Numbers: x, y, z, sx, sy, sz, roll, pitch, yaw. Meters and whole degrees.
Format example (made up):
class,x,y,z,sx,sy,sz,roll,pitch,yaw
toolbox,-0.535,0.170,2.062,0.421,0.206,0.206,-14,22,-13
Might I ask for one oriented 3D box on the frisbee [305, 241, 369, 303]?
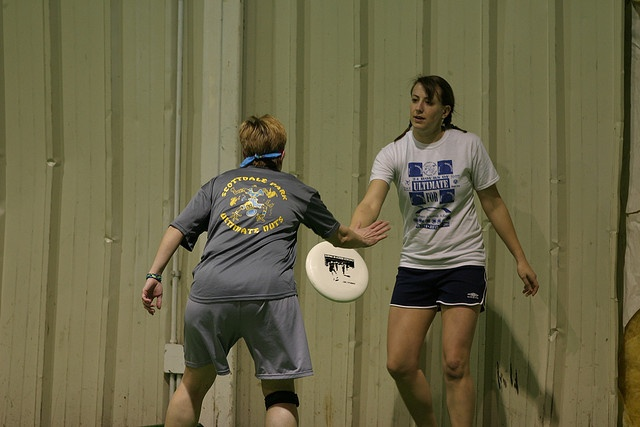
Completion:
class,x,y,z,sx,sy,sz,roll,pitch,yaw
frisbee,0.113,0.399,7.707,0.379,0.437,0.084,33,-39,-15
